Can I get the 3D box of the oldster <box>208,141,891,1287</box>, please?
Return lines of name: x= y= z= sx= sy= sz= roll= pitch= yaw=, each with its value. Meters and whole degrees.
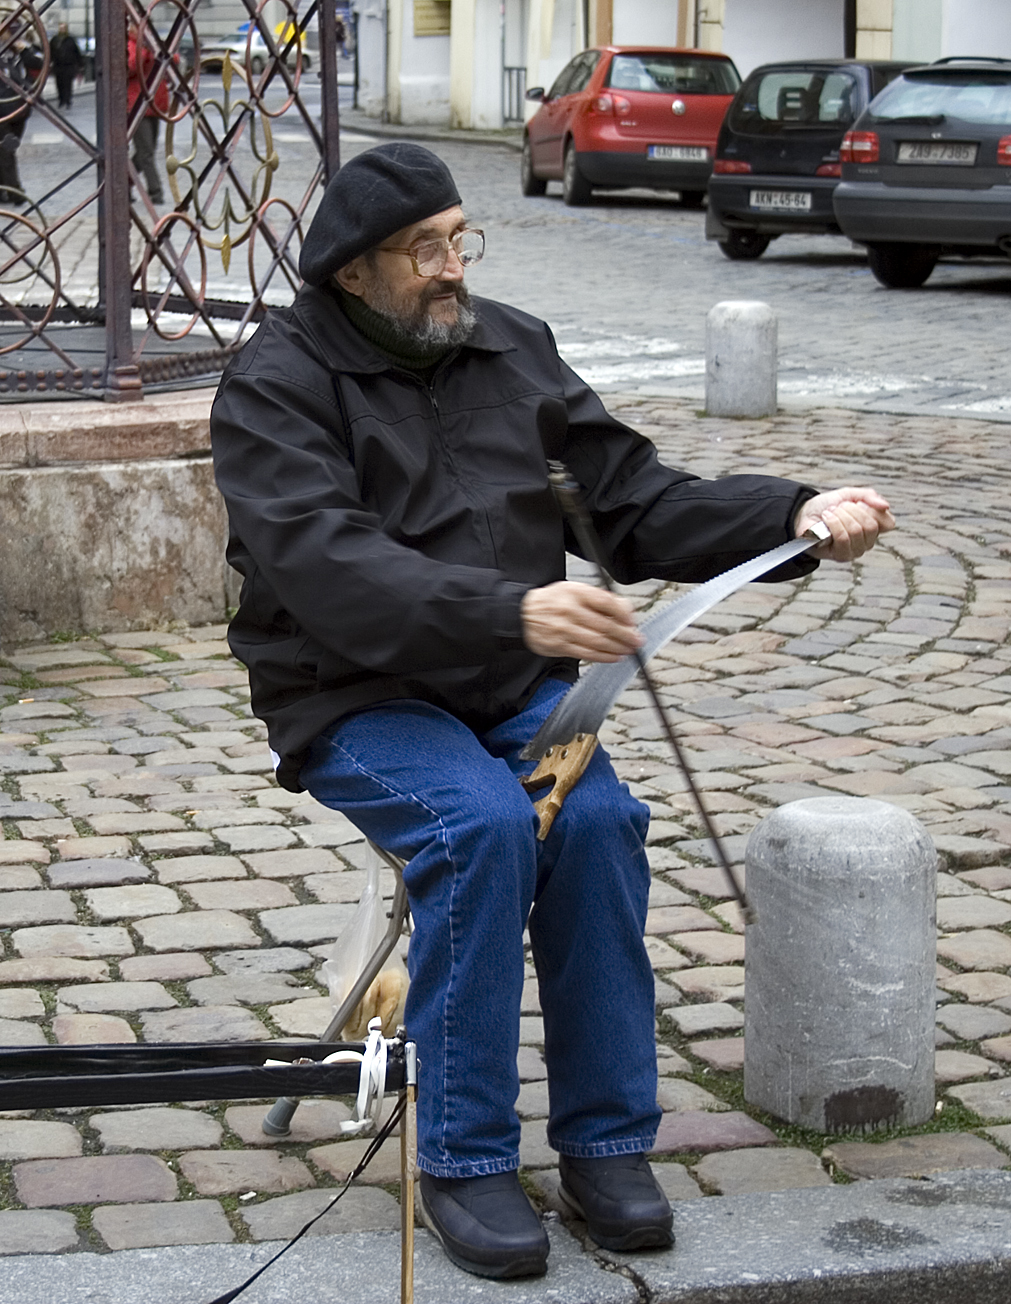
oldster: x=0.109 y=0.071 z=3.008 sx=1.199 sy=1.570 sz=0.937 roll=2 pitch=11 yaw=4

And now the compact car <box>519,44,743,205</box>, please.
compact car: x=1.094 y=-5.017 z=20.303 sx=1.710 sy=0.971 sz=2.513 roll=-2 pitch=16 yaw=-14

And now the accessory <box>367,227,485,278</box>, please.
accessory: x=-0.122 y=-0.574 z=3.053 sx=0.118 sy=0.033 sz=0.112 roll=9 pitch=19 yaw=39

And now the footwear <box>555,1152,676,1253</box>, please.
footwear: x=0.154 y=0.727 z=2.825 sx=0.110 sy=0.103 sz=0.208 roll=-3 pitch=10 yaw=-22

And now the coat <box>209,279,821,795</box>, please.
coat: x=0.042 y=-0.183 z=2.990 sx=0.872 sy=0.571 sz=0.735 roll=-4 pitch=19 yaw=7

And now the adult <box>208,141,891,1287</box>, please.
adult: x=0.086 y=0.060 z=2.992 sx=1.189 sy=1.565 sz=0.874 roll=2 pitch=8 yaw=13

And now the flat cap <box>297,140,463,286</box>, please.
flat cap: x=-0.183 y=-0.647 z=3.031 sx=0.256 sy=0.113 sz=0.171 roll=-14 pitch=15 yaw=33

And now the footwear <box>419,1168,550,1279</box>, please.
footwear: x=-0.034 y=0.735 z=2.741 sx=0.085 sy=0.072 sz=0.199 roll=-7 pitch=10 yaw=-27

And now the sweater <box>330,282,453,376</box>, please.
sweater: x=-0.176 y=-0.456 z=3.071 sx=0.151 sy=0.050 sz=0.114 roll=29 pitch=34 yaw=16
